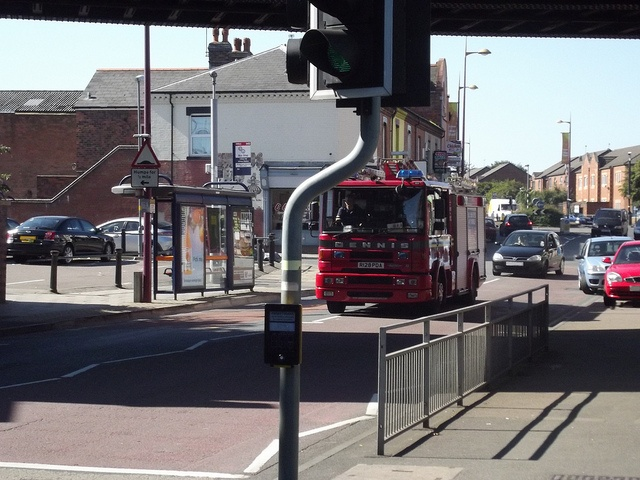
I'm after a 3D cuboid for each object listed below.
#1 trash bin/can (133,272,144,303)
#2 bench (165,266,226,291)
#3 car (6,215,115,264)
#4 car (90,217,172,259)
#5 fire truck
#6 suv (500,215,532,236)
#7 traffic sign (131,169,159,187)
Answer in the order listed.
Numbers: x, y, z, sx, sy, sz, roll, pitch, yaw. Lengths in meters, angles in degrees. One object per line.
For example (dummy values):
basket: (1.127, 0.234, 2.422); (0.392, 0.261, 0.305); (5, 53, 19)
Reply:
trash bin/can: (-4.379, 1.140, 23.195); (0.209, 0.724, 0.376); (-1, 2, -11)
bench: (-3.116, 0.925, 24.710); (0.685, 0.881, 2.301); (0, 2, 21)
car: (-9.226, -0.122, 34.470); (1.338, 1.396, 3.564); (0, 2, 33)
car: (-7.162, -0.123, 37.909); (4.109, 1.624, 1.686); (0, 1, -19)
fire truck: (2.730, -0.115, 23.308); (2.564, 3.529, 6.631); (0, 2, 34)
suv: (12.567, -0.637, 62.367); (1.625, 1.409, 2.838); (0, 5, 9)
traffic sign: (-4.078, -1.416, 22.414); (0.638, 0.467, 0.476); (-2, 2, -16)
